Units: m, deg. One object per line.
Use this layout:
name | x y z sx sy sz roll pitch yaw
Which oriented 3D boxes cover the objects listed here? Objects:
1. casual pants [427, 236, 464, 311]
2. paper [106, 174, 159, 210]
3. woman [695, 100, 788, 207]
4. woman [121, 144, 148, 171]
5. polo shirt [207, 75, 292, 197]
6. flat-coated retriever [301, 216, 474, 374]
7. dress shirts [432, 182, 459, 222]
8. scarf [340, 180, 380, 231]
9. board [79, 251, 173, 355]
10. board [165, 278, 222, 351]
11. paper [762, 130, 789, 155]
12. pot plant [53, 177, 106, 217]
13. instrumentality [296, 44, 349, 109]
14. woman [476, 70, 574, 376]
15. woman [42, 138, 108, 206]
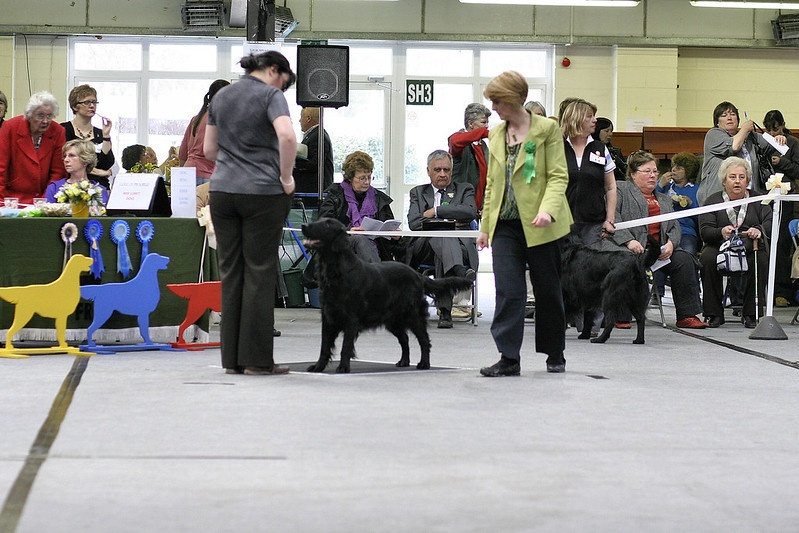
casual pants | 0.385 0.055 8.797 0.241 0.731 0.230 -8 -14 -9
paper | -2.069 -0.574 7.158 0.365 0.283 0.206 1 5 1
woman | 3.668 -1.074 10.265 1.037 1.403 0.651 -1 16 22
woman | -3.597 -1.464 12.446 0.295 0.340 0.726 -1 5 -16
polo shirt | -0.963 -0.817 5.742 0.438 0.739 0.203 0 6 -6
flat-coated retriever | -0.175 0.245 6.163 1.502 0.911 0.361 5 -11 -45
dress shirts | 0.340 -0.605 8.944 0.273 0.380 0.151 -1 -15 12
scarf | -0.443 -0.569 8.735 0.373 0.414 0.154 1 -12 -20
board | -2.060 0.258 6.844 0.897 0.729 0.246 -1 4 -27
board | -1.606 0.370 6.998 0.652 0.493 0.327 0 6 -30
paper | 4.209 -1.440 10.838 0.310 0.078 0.277 21 27 -31
pot plant | -2.447 -0.471 7.056 0.390 0.223 0.364 5 -12 -29
instrumentality | -0.845 -1.915 9.237 0.519 0.624 0.198 1 6 2
woman | 0.718 -0.252 5.862 0.572 1.939 0.432 1 6 7
woman | -2.596 -0.721 7.445 0.628 0.510 0.297 1 -1 23
